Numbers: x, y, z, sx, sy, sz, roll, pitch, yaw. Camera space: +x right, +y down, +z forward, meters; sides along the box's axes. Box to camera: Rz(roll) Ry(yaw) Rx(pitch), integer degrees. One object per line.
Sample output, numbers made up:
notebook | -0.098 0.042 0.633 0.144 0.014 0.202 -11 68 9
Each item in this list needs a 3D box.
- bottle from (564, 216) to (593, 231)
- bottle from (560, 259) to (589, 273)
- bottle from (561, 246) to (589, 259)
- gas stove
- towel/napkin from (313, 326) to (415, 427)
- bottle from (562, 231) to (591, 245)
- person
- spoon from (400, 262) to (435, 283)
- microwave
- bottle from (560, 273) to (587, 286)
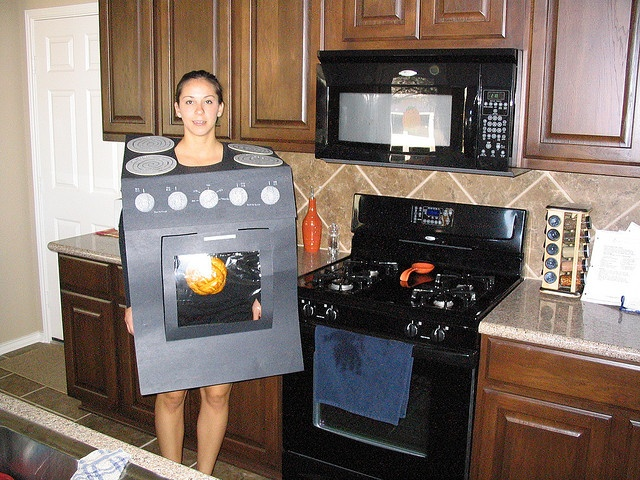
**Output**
bottle | 1.115 -0.075 2.261 0.101 0.060 0.034 -2 32 20
bottle | 1.113 0.103 2.318 0.088 0.084 0.033 -4 11 6
bottle | 1.133 0.049 2.304 0.115 0.065 0.049 5 9 1
gas stove | 0.447 0.131 2.367 0.826 0.503 0.753 9 16 35
towel/napkin | 0.198 0.550 2.167 0.431 0.358 0.117 8 8 28
bottle | 1.117 -0.012 2.291 0.120 0.043 0.066 -2 1 22
person | -0.614 0.212 2.325 0.453 1.876 0.426 1 13 -8
spoon | 0.448 0.152 2.490 0.082 0.030 0.147 9 21 41
microwave | 0.476 -0.590 2.405 0.900 0.514 0.454 8 19 26
bottle | 1.107 0.169 2.291 0.101 0.057 0.033 -9 13 -11
